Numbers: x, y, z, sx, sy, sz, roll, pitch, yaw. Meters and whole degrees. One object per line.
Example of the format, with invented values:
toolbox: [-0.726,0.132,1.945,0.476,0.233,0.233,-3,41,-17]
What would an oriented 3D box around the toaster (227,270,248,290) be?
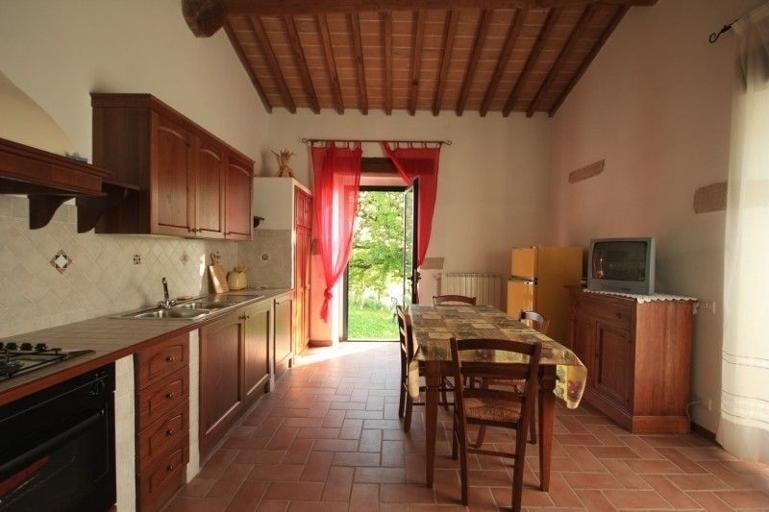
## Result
toaster: [-1.726,0.292,5.995,0.165,0.156,0.225,1,3,-2]

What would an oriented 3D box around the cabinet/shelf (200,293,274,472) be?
cabinet/shelf: [-1.364,1.172,4.689,0.422,0.679,1.324,-1,0,2]

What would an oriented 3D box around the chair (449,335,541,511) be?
chair: [0.891,1.174,4.250,0.687,1.302,1.052,5,15,18]

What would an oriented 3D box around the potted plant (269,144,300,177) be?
potted plant: [-1.335,-1.211,6.828,0.338,0.377,1.157,-3,14,-12]

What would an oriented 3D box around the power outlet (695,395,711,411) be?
power outlet: [2.936,1.352,4.752,0.102,0.067,0.094,3,-5,-9]

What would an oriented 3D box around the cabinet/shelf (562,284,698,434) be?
cabinet/shelf: [2.653,1.040,5.719,0.989,1.976,2.007,2,-3,3]

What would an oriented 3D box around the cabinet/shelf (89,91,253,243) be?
cabinet/shelf: [-1.933,-0.756,4.603,0.442,0.828,1.701,0,-3,3]

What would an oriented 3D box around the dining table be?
dining table: [0.907,1.468,4.533,1.117,0.995,2.676,1,-3,6]
